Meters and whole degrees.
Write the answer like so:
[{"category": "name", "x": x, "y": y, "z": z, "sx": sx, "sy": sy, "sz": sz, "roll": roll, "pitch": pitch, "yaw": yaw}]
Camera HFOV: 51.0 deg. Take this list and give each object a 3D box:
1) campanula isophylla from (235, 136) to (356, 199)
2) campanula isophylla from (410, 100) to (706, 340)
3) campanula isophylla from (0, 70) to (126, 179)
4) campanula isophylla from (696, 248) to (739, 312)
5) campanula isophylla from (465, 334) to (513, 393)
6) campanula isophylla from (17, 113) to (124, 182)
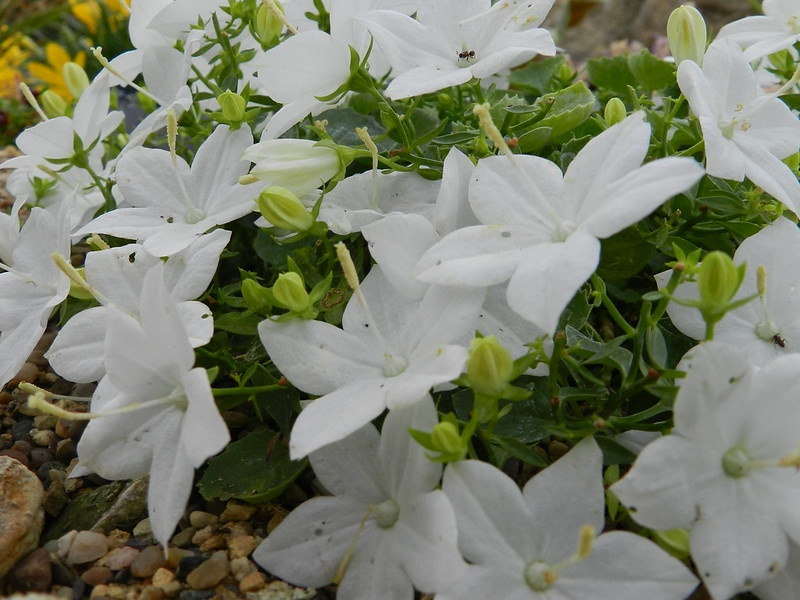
[{"category": "campanula isophylla", "x": -0.182, "y": -0.241, "z": 1.484, "sx": 0.147, "sy": 0.059, "sz": 0.103, "roll": -14, "pitch": 44, "yaw": 6}, {"category": "campanula isophylla", "x": 0.249, "y": -0.046, "z": 1.301, "sx": 0.383, "sy": 0.209, "sz": 0.418, "roll": -20, "pitch": 49, "yaw": 17}, {"category": "campanula isophylla", "x": -0.699, "y": -0.345, "z": 1.818, "sx": 0.262, "sy": 0.135, "sz": 0.255, "roll": -28, "pitch": 9, "yaw": -30}, {"category": "campanula isophylla", "x": 0.479, "y": -0.025, "z": 1.266, "sx": 0.068, "sy": 0.119, "sz": 0.079, "roll": 4, "pitch": 68, "yaw": 10}, {"category": "campanula isophylla", "x": 0.137, "y": 0.103, "z": 1.317, "sx": 0.051, "sy": 0.072, "sz": 0.051, "roll": -31, "pitch": 49, "yaw": 2}, {"category": "campanula isophylla", "x": -0.715, "y": -0.327, "z": 1.810, "sx": 0.164, "sy": 0.090, "sz": 0.169, "roll": -27, "pitch": 34, "yaw": -21}]
